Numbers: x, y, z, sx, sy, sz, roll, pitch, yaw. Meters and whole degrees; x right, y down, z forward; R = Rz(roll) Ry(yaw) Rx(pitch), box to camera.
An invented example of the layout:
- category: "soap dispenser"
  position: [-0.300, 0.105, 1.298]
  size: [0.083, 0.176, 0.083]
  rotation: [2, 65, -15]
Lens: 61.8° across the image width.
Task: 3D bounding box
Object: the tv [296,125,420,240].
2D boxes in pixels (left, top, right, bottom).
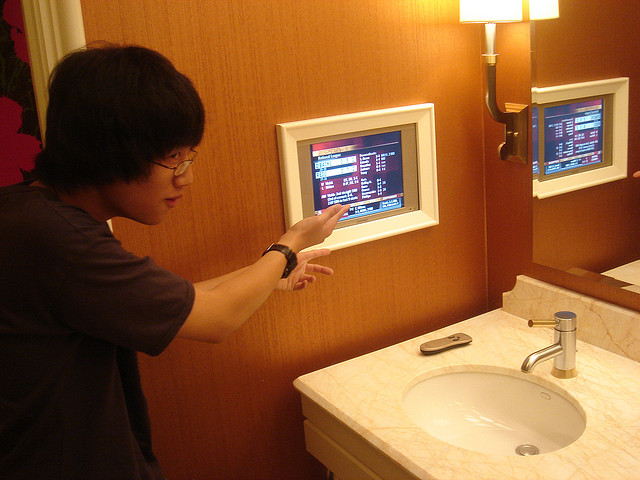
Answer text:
- category: "tv"
  position: [0.100, -0.180, 1.598]
  size: [0.328, 0.230, 0.014]
  rotation: [-16, 20, -23]

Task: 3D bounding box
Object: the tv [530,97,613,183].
- category: "tv"
  position: [0.756, -0.299, 1.587]
  size: [0.029, 0.256, 0.275]
  rotation: [-20, 15, -42]

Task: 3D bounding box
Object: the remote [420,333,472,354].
- category: "remote"
  position: [0.397, 0.319, 1.706]
  size: [0.166, 0.032, 0.062]
  rotation: [-12, 20, -23]
